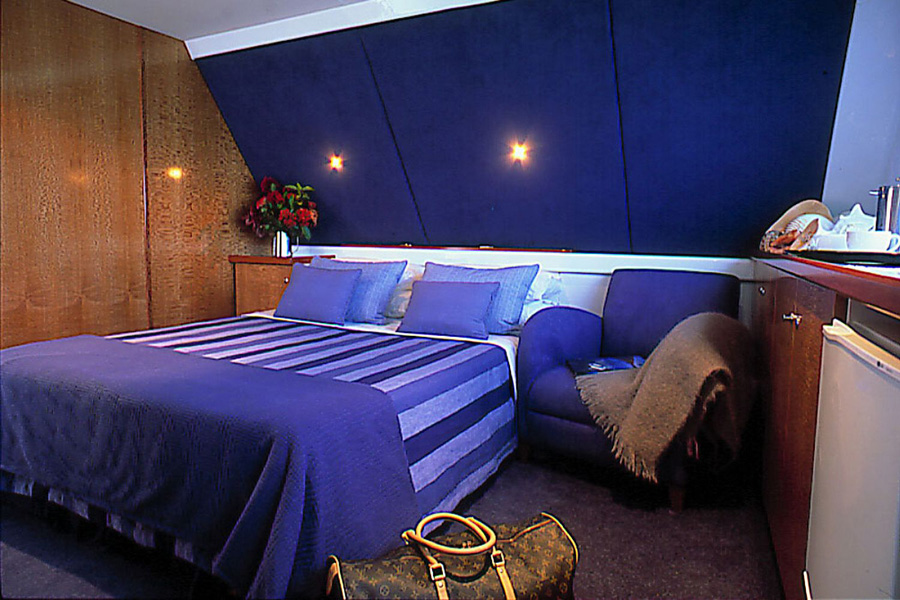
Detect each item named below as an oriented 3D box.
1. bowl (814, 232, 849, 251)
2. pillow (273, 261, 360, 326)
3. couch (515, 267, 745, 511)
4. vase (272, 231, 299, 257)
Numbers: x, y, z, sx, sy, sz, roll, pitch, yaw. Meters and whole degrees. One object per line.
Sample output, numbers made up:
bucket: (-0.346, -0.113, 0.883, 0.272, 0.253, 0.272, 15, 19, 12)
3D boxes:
bowl: (1.682, -0.262, 2.525, 0.069, 0.070, 0.191, -5, 13, -9)
pillow: (-0.897, -0.046, 3.902, 0.526, 0.420, 0.147, 5, -18, 27)
couch: (1.280, 0.452, 3.445, 1.319, 1.154, 1.356, 1, -1, 43)
vase: (-1.427, -0.491, 5.048, 0.267, 0.252, 0.167, 2, 0, -5)
